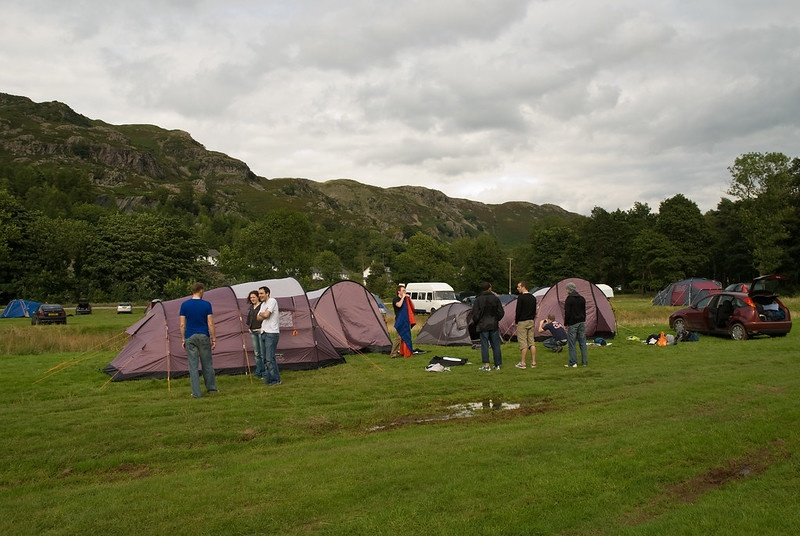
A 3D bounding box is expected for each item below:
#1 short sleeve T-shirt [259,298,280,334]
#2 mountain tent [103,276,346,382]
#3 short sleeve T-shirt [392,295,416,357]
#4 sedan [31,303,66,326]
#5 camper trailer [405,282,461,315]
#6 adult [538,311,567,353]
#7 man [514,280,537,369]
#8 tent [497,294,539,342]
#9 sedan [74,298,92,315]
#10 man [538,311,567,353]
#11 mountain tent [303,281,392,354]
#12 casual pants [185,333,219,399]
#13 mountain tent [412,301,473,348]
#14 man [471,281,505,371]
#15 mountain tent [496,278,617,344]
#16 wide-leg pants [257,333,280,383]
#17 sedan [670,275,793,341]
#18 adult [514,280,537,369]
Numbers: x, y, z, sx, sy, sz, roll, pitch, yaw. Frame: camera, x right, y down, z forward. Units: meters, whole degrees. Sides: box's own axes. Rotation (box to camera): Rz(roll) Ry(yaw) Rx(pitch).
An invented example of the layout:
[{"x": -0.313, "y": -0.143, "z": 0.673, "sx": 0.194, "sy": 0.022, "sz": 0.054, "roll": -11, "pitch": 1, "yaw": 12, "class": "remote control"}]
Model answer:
[{"x": -3.944, "y": 1.425, "z": 17.260, "sx": 0.853, "sy": 0.982, "sz": 0.531, "roll": -17, "pitch": -21, "yaw": 33, "class": "short sleeve T-shirt"}, {"x": -5.754, "y": 2.063, "z": 19.073, "sx": 5.315, "sy": 1.897, "sz": 3.753, "roll": 0, "pitch": -3, "yaw": -26, "class": "mountain tent"}, {"x": 0.113, "y": 2.144, "z": 21.147, "sx": 0.619, "sy": 2.350, "sz": 0.978, "roll": 1, "pitch": 9, "yaw": 12, "class": "short sleeve T-shirt"}, {"x": -25.215, "y": 3.364, "z": 41.646, "sx": 1.536, "sy": 1.165, "sz": 3.521, "roll": 0, "pitch": 1, "yaw": -34, "class": "sedan"}, {"x": 2.785, "y": 2.570, "z": 53.103, "sx": 2.557, "sy": 2.287, "sz": 4.309, "roll": 0, "pitch": -3, "yaw": -36, "class": "camper trailer"}, {"x": 5.944, "y": 2.538, "z": 22.416, "sx": 0.967, "sy": 1.393, "sz": 1.306, "roll": -9, "pitch": 6, "yaw": -30, "class": "adult"}, {"x": 4.143, "y": 1.850, "z": 19.450, "sx": 0.974, "sy": 2.812, "sz": 0.810, "roll": 2, "pitch": -2, "yaw": -40, "class": "man"}, {"x": 4.920, "y": 2.157, "z": 24.431, "sx": 2.038, "sy": 1.518, "sz": 2.013, "roll": -1, "pitch": 6, "yaw": 5, "class": "tent"}, {"x": -30.138, "y": 3.725, "z": 55.165, "sx": 1.180, "sy": 1.051, "sz": 2.347, "roll": -1, "pitch": -1, "yaw": -32, "class": "sedan"}, {"x": 5.948, "y": 2.509, "z": 22.437, "sx": 0.941, "sy": 1.379, "sz": 1.300, "roll": -14, "pitch": 12, "yaw": -38, "class": "man"}, {"x": -2.311, "y": 1.770, "z": 22.535, "sx": 3.238, "sy": 1.263, "sz": 2.421, "roll": 14, "pitch": 22, "yaw": 41, "class": "mountain tent"}, {"x": -5.607, "y": 2.643, "z": 16.146, "sx": 0.737, "sy": 1.739, "sz": 0.734, "roll": 7, "pitch": 12, "yaw": 40, "class": "casual pants"}, {"x": 1.744, "y": 2.412, "z": 23.917, "sx": 1.865, "sy": 0.951, "sz": 2.135, "roll": -1, "pitch": 2, "yaw": -1, "class": "mountain tent"}, {"x": 2.855, "y": 1.857, "z": 18.898, "sx": 1.014, "sy": 2.675, "sz": 0.827, "roll": 0, "pitch": -4, "yaw": -3, "class": "man"}, {"x": 6.607, "y": 1.656, "z": 24.429, "sx": 3.277, "sy": 1.243, "sz": 3.344, "roll": -2, "pitch": 0, "yaw": 44, "class": "mountain tent"}, {"x": -3.882, "y": 2.642, "z": 17.299, "sx": 0.467, "sy": 1.492, "sz": 0.741, "roll": -4, "pitch": 10, "yaw": -14, "class": "wide-leg pants"}, {"x": 13.489, "y": 1.559, "z": 23.687, "sx": 1.418, "sy": 3.102, "sz": 3.864, "roll": -7, "pitch": 11, "yaw": -31, "class": "sedan"}, {"x": 4.135, "y": 1.856, "z": 19.472, "sx": 0.975, "sy": 2.824, "sz": 0.903, "roll": 2, "pitch": -3, "yaw": -36, "class": "adult"}]
